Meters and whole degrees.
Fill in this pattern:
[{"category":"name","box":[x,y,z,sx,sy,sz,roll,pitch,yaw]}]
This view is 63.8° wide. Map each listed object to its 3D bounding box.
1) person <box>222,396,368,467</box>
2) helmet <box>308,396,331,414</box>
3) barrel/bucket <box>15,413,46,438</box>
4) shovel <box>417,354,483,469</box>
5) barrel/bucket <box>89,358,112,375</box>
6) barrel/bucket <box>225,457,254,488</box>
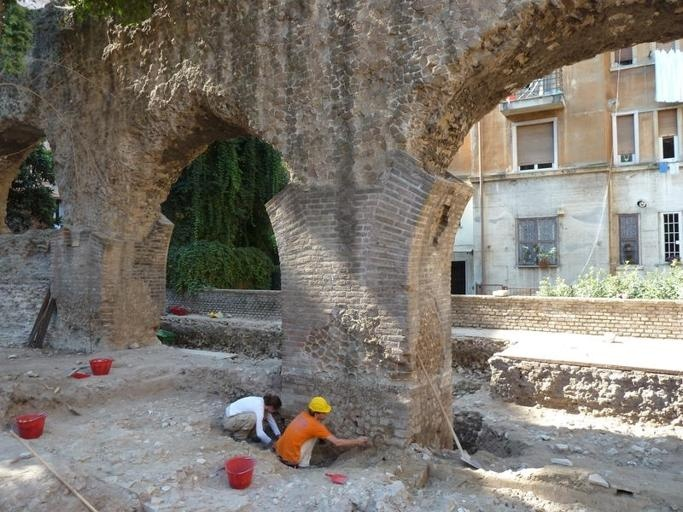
[{"category":"person","box":[-0.583,2.333,7.429,1.818,0.856,0.949,14,13,-25]},{"category":"helmet","box":[-0.278,1.974,7.138,0.288,0.167,0.235,0,10,9]},{"category":"barrel/bucket","box":[-3.892,2.127,6.920,0.271,0.226,0.321,-6,-13,22]},{"category":"shovel","box":[1.525,2.317,7.984,0.170,2.378,0.538,-29,18,-13]},{"category":"barrel/bucket","box":[-3.833,1.762,8.715,0.256,0.189,0.283,0,-12,-2]},{"category":"barrel/bucket","box":[-1.157,2.458,6.248,0.278,0.205,0.292,2,-2,0]}]
